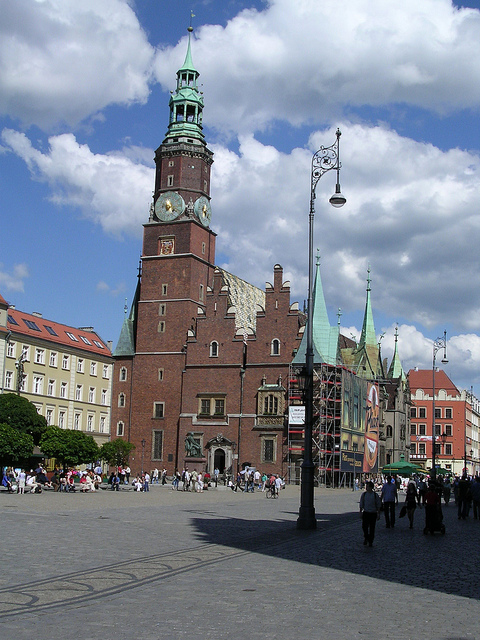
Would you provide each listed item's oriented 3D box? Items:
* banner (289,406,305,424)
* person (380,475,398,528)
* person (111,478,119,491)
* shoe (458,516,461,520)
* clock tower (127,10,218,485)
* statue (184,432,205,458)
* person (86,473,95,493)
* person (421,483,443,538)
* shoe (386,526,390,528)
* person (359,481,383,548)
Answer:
[{"bbox_3d":[4.599,7.822,64.678,1.010,1.483,1.731,8,-13,-24],"label":"banner"},{"bbox_3d":[4.793,5.850,25.295,0.429,1.593,1.527,0,-12,11],"label":"person"},{"bbox_3d":[-7.989,10.578,50.543,0.364,0.749,0.701,5,-12,-10],"label":"person"},{"bbox_3d":[8.861,7.996,31.711,0.079,0.139,0.082,-2,-2,-16],"label":"shoe"},{"bbox_3d":[-7.019,-6.945,79.180,11.636,45.795,11.198,7,-3,-29],"label":"clock tower"},{"bbox_3d":[-3.607,9.974,61.423,1.105,1.633,1.981,4,-12,-9],"label":"statue"},{"bbox_3d":[-8.514,9.358,44.730,0.524,0.918,1.236,5,-12,-11],"label":"person"},{"bbox_3d":[5.510,5.413,22.391,0.571,1.377,1.974,0,-12,14],"label":"person"},{"bbox_3d":[4.630,6.490,24.590,0.083,0.081,0.061,-16,6,-32],"label":"shoe"},{"bbox_3d":[2.957,4.417,17.909,0.398,1.415,1.437,1,-12,9],"label":"person"}]
